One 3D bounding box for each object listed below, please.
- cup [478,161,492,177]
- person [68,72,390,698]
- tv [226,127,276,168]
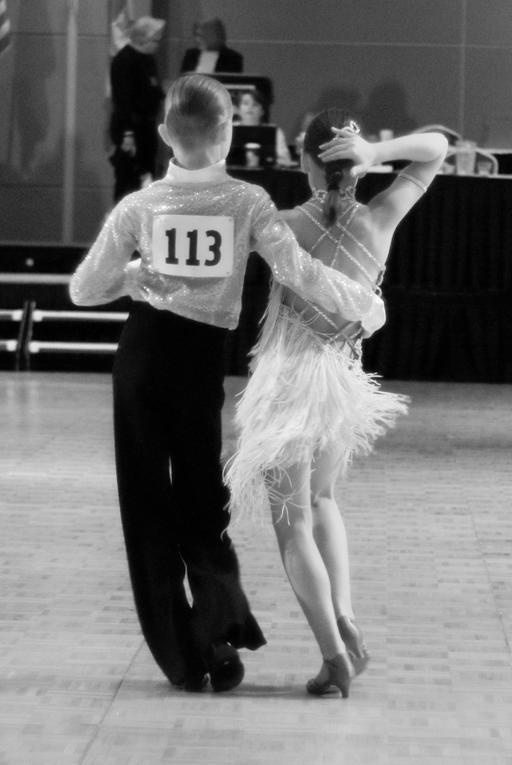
[{"bbox_3d":[1.737,-1.620,7.221,0.106,0.104,0.270,1,5,13],"label":"cup"},{"bbox_3d":[-0.074,0.027,1.671,0.532,1.103,0.200,0,5,6],"label":"person"},{"bbox_3d":[-0.019,-1.858,7.398,0.421,0.437,0.108,1,-28,-1],"label":"tv"}]
